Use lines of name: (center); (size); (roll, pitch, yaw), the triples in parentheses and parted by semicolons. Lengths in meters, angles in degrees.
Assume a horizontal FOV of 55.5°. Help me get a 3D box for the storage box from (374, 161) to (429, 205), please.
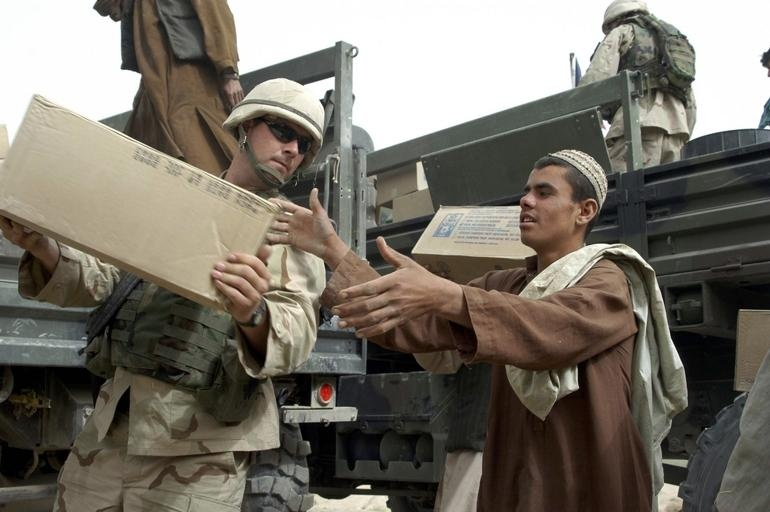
storage box: (0.152, -0.678, 7.018); (0.403, 0.268, 0.416); (-18, -10, 24)

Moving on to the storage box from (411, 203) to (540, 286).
storage box: (0.505, -0.018, 3.924); (0.608, 0.465, 0.350); (1, -49, 35)

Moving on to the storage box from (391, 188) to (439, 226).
storage box: (0.254, -0.467, 6.824); (0.320, 0.208, 0.328); (-16, -13, 33)

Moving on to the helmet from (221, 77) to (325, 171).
helmet: (-0.495, -0.688, 3.518); (0.419, 0.306, 0.481); (13, -14, -3)

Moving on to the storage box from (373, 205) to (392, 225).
storage box: (0.029, -0.451, 8.175); (0.057, 0.223, 0.232); (9, 5, 39)
